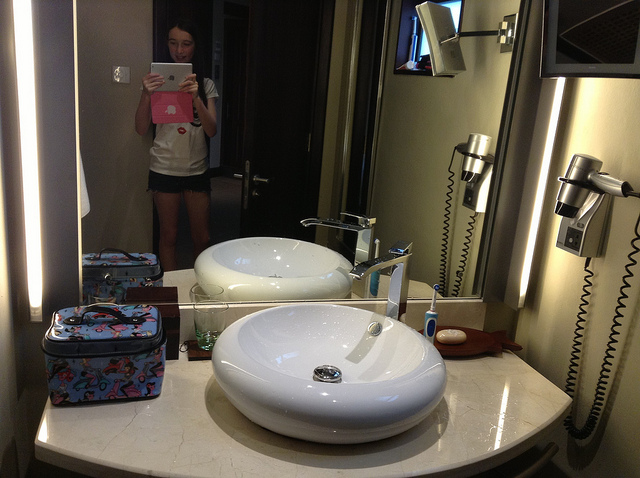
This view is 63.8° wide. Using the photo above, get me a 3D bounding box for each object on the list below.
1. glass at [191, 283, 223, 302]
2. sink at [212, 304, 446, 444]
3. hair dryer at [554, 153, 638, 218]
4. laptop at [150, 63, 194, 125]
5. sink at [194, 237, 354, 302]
[{"bbox_3d":[-0.373,0.170,1.669,0.068,0.056,0.070,3,17,-8],"label":"glass"},{"bbox_3d":[0.019,0.356,1.424,0.585,0.176,0.501,-10,21,-29],"label":"sink"},{"bbox_3d":[0.847,-0.142,1.522,0.144,0.193,0.240,-9,20,-28],"label":"hair dryer"},{"bbox_3d":[-0.454,-0.442,1.563,0.126,0.172,0.026,-4,18,-16],"label":"laptop"},{"bbox_3d":[-0.151,0.101,1.728,0.537,0.211,0.118,-2,18,-9],"label":"sink"}]
